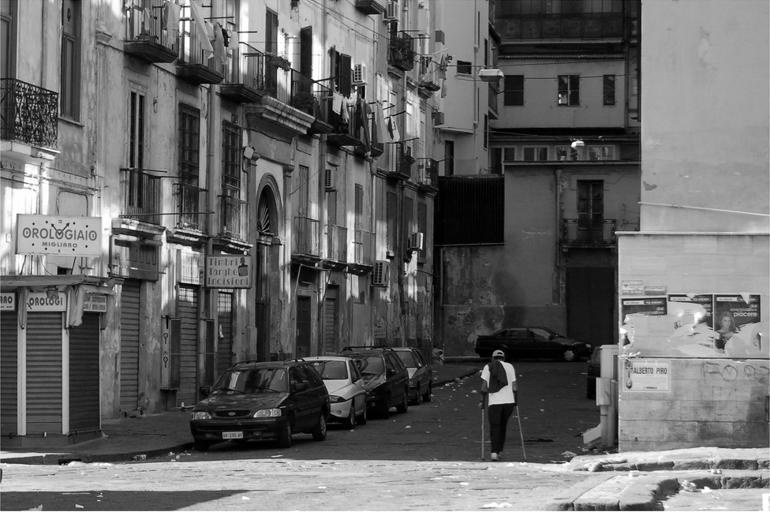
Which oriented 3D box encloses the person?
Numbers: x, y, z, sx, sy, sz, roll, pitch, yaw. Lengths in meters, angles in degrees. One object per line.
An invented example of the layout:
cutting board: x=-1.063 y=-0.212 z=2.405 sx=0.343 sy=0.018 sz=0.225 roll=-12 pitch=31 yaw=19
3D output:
person: x=2.630 y=3.505 z=41.189 sx=0.815 sy=2.559 sz=1.534 roll=-1 pitch=-5 yaw=3

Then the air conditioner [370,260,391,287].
air conditioner: x=-0.267 y=0.787 z=67.861 sx=0.858 sy=1.290 sz=1.419 roll=-1 pitch=-1 yaw=2

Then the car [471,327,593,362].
car: x=6.755 y=3.949 z=77.773 sx=5.316 sy=1.552 sz=2.134 roll=-1 pitch=-2 yaw=18

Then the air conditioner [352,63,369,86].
air conditioner: x=-1.047 y=-6.619 z=64.967 sx=0.354 sy=0.999 sz=1.072 roll=0 pitch=-2 yaw=22

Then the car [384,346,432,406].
car: x=0.328 y=3.788 z=55.679 sx=1.899 sy=1.732 sz=3.973 roll=2 pitch=-1 yaw=7

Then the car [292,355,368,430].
car: x=-1.215 y=3.744 z=47.318 sx=1.683 sy=1.892 sz=3.561 roll=1 pitch=0 yaw=8

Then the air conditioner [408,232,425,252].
air conditioner: x=1.101 y=-0.361 z=73.625 sx=0.699 sy=1.060 sz=1.265 roll=0 pitch=-2 yaw=14

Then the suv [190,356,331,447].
suv: x=-3.115 y=3.694 z=44.243 sx=2.659 sy=1.881 sz=4.266 roll=-1 pitch=0 yaw=17
